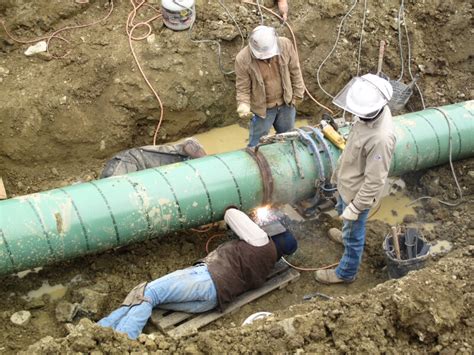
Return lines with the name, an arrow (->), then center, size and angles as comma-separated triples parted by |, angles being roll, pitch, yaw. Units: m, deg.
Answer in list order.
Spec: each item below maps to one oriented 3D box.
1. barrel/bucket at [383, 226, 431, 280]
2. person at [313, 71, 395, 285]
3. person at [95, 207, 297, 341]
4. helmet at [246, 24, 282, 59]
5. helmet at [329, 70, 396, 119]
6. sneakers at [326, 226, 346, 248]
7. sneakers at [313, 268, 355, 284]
barrel/bucket -> 2.281, 1.101, 6.326 | 0.466, 0.608, 0.593 | -11, 22, 13
person -> 1.532, 0.157, 6.203 | 0.843, 3.208, 1.163 | 10, 44, 8
person -> -0.512, 1.012, 6.225 | 2.842, 1.506, 1.001 | -15, 40, -25
helmet -> 0.358, -1.846, 6.465 | 0.409, 0.411, 0.243 | -8, 20, 5
helmet -> 1.446, -0.935, 5.391 | 0.513, 0.249, 0.599 | 35, 81, 24
sneakers -> 1.427, 0.869, 6.913 | 0.138, 0.082, 0.263 | -24, 49, -8
sneakers -> 1.282, 1.332, 6.337 | 0.518, 0.238, 0.214 | 4, 53, 1
